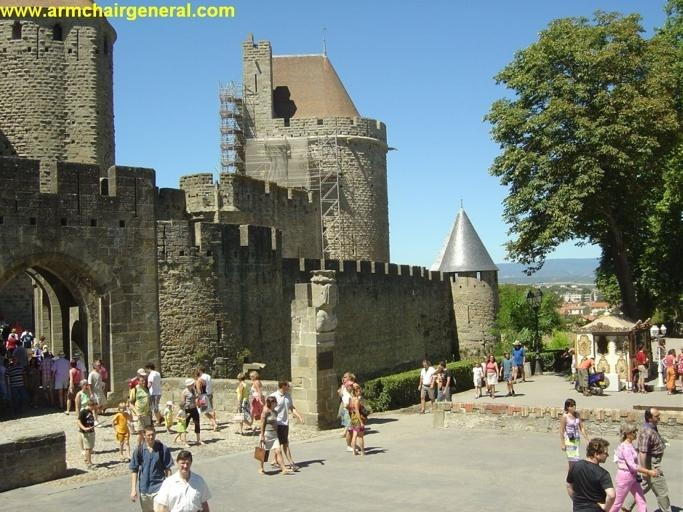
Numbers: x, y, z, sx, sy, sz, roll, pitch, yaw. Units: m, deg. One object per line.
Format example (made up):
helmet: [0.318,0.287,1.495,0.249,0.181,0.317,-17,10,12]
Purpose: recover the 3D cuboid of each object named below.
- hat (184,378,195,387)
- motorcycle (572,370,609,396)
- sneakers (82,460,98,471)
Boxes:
hat: [-3.929,3.291,22.933,0.264,0.073,0.255,-4,7,5]
motorcycle: [8.198,4.188,29.325,1.105,0.661,0.603,-3,-1,23]
sneakers: [-6.112,5.096,21.613,0.391,0.158,0.154,-2,-2,33]
